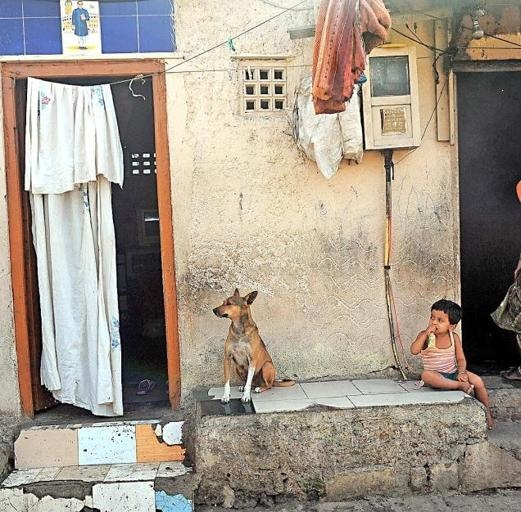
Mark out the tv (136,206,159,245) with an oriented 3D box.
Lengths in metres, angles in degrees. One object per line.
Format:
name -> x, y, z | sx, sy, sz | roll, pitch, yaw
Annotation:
tv -> -1.359, -0.337, 8.548 | 0.371, 0.446, 0.380 | 0, -5, -17

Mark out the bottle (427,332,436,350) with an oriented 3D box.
bottle -> 1.442, 0.716, 5.975 | 0.074, 0.136, 0.023 | -4, 7, -13

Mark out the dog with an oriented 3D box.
dog -> -0.147, 0.731, 6.033 | 0.478, 0.914, 0.691 | 3, 9, 36

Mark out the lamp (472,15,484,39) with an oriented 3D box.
lamp -> 1.788, -1.844, 5.825 | 0.084, 0.215, 0.082 | -2, -7, 4

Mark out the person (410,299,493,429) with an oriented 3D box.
person -> 1.593, 0.856, 5.986 | 0.614, 0.955, 0.246 | 0, 8, 19
